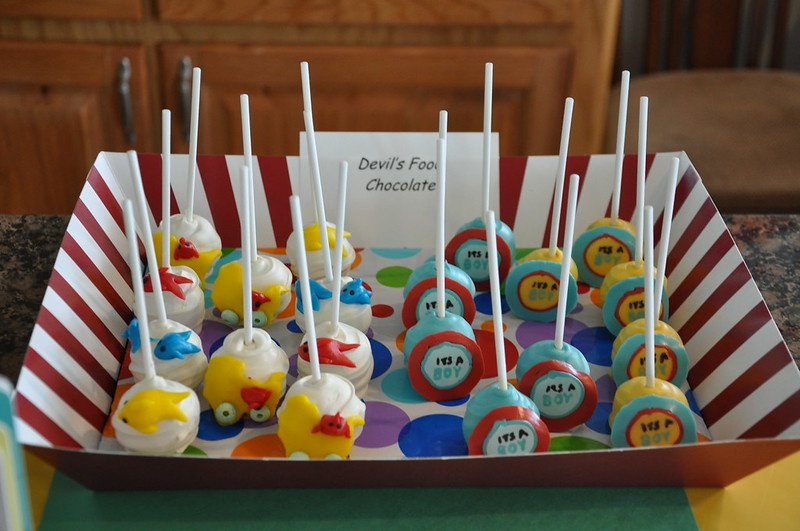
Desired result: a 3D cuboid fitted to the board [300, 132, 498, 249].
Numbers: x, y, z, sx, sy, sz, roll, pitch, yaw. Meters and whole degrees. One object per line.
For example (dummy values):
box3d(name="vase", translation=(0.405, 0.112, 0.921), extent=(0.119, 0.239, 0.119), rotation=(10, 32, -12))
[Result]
box3d(name="board", translation=(-0.004, -0.166, 1.737), extent=(0.275, 0.198, 0.005), rotation=(-1, 28, 0))
